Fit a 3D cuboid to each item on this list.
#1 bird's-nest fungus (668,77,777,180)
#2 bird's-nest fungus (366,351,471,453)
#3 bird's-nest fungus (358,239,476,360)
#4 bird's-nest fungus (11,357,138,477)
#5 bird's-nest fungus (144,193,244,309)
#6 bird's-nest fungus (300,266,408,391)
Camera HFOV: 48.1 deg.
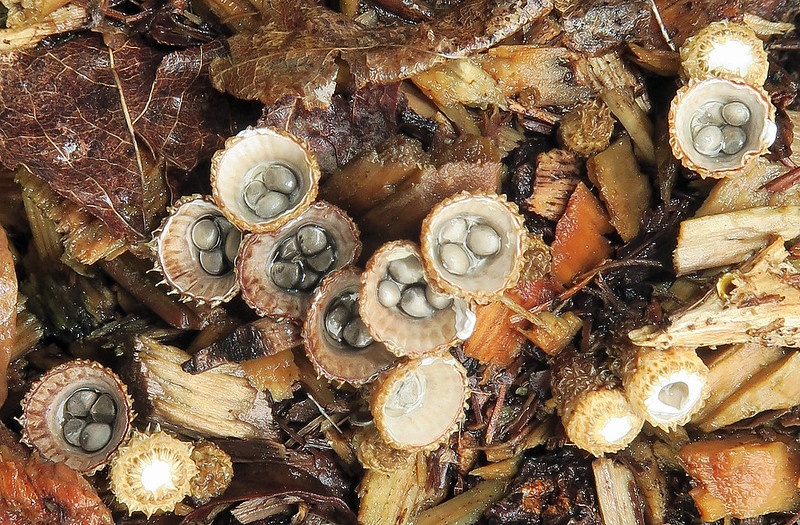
[{"bbox_3d":[1.368,-0.559,3.789,0.450,0.232,0.493,-11,-39,41],"label":"bird's-nest fungus"},{"bbox_3d":[0.095,0.594,3.674,0.408,0.420,0.161,-2,1,-8],"label":"bird's-nest fungus"},{"bbox_3d":[0.045,0.179,3.582,0.454,0.472,0.197,-10,-7,-14],"label":"bird's-nest fungus"},{"bbox_3d":[-1.326,0.658,3.768,0.446,0.430,0.186,-17,-28,-23],"label":"bird's-nest fungus"},{"bbox_3d":[-0.837,-0.038,3.735,0.441,0.445,0.187,17,3,-1],"label":"bird's-nest fungus"},{"bbox_3d":[-0.228,0.301,3.664,0.468,0.466,0.179,3,-13,-13],"label":"bird's-nest fungus"}]
